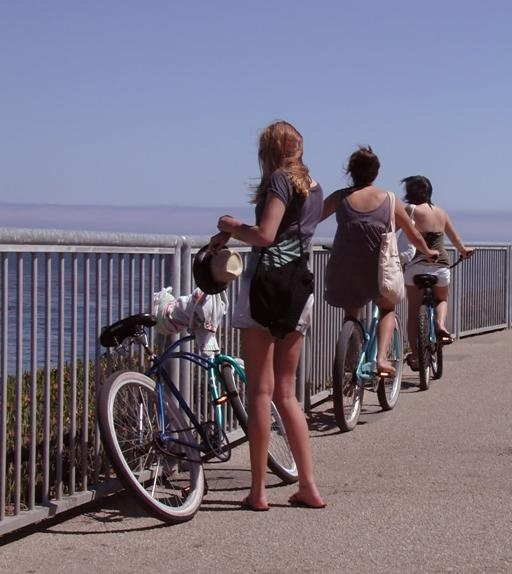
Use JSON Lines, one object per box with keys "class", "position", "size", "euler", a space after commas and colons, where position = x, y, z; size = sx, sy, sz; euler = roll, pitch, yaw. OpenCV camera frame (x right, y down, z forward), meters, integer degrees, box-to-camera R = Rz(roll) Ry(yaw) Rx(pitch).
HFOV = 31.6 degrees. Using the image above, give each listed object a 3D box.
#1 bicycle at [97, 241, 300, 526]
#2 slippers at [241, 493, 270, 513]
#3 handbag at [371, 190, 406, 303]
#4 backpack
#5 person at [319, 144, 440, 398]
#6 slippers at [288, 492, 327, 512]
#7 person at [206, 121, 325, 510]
{"class": "bicycle", "position": [-0.514, 0.671, 4.915], "size": [0.697, 1.035, 1.486], "euler": [-17, -3, 25]}
{"class": "slippers", "position": [0.004, 1.093, 4.640], "size": [0.060, 0.069, 0.157], "euler": [-1, 8, -29]}
{"class": "handbag", "position": [0.931, -0.258, 6.319], "size": [0.175, 0.582, 0.411], "euler": [-3, 1, 8]}
{"class": "backpack", "position": [0.116, 0.039, 4.660], "size": [0.251, 0.461, 0.406], "euler": [7, -2, -29]}
{"class": "person", "position": [0.900, -0.204, 6.615], "size": [0.898, 1.606, 0.750], "euler": [0, 8, 1]}
{"class": "slippers", "position": [0.265, 1.109, 4.714], "size": [0.203, 0.096, 0.075], "euler": [-1, -3, 26]}
{"class": "person", "position": [0.032, 0.127, 4.654], "size": [0.637, 1.936, 0.524], "euler": [-2, -9, 39]}
